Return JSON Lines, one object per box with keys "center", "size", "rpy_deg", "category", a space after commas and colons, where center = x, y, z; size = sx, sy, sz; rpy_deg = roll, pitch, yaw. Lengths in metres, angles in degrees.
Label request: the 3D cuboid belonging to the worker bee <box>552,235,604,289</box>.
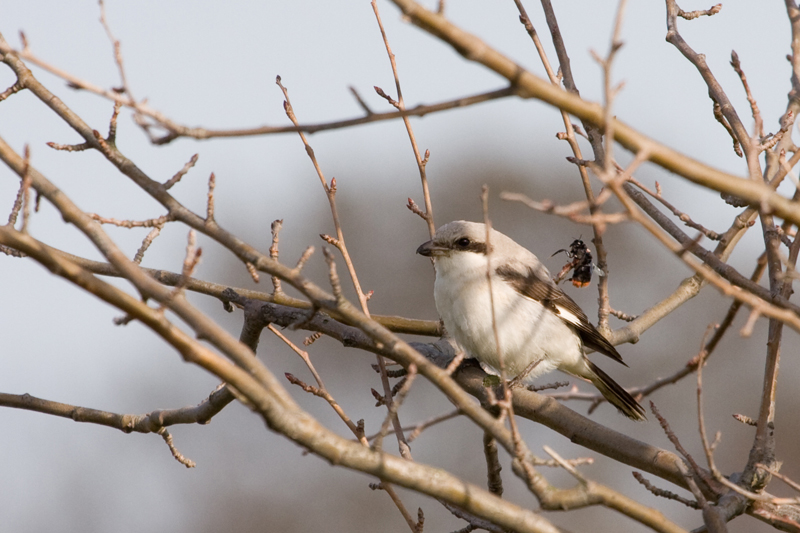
{"center": [1.263, -0.008, 6.481], "size": [0.325, 0.367, 0.366], "rpy_deg": [-3, -102, 4], "category": "worker bee"}
